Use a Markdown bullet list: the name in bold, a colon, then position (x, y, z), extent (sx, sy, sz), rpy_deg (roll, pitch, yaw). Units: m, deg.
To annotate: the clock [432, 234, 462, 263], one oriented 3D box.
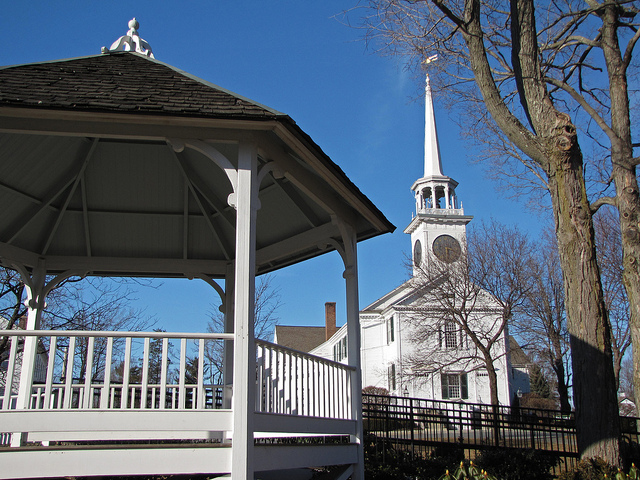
- **clock**: position (6.911, 0.457, 38.383), extent (1.315, 1.401, 0.145), rpy_deg (-1, -4, 1)
